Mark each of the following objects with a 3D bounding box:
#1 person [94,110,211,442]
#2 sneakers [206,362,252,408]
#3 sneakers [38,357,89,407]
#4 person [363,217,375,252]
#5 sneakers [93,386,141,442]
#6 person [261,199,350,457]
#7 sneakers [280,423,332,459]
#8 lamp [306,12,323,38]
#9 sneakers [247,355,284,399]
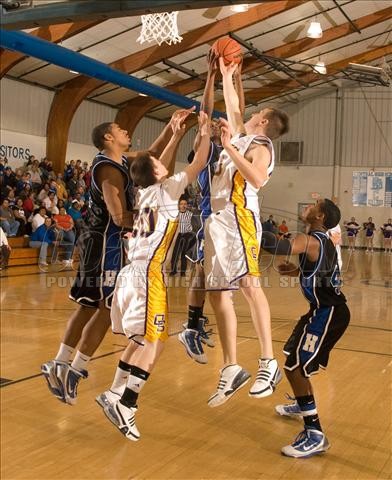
[{"bbox_3d":[-0.242,0.107,1.957,0.424,1.710,0.554,1,-3,29],"label":"person"},{"bbox_3d":[0.167,0.733,1.970,0.201,0.201,0.112,2,-2,6],"label":"sneakers"},{"bbox_3d":[-0.698,0.743,2.019,0.201,0.224,0.098,3,-2,-19],"label":"sneakers"},{"bbox_3d":[9.616,-0.349,21.624,0.634,1.875,1.405,2,-2,24],"label":"person"},{"bbox_3d":[-0.360,0.824,1.788,0.197,0.250,0.283,3,-2,-15],"label":"sneakers"},{"bbox_3d":[0.540,0.394,1.970,0.439,1.253,0.568,2,-2,19],"label":"person"},{"bbox_3d":[0.491,0.917,1.800,0.292,0.117,0.091,-2,-9,-17],"label":"sneakers"},{"bbox_3d":[3.632,-6.558,11.915,0.367,0.714,0.673,2,-2,21],"label":"lamp"},{"bbox_3d":[0.351,0.697,1.974,0.110,0.126,0.309,-7,0,23],"label":"sneakers"}]
